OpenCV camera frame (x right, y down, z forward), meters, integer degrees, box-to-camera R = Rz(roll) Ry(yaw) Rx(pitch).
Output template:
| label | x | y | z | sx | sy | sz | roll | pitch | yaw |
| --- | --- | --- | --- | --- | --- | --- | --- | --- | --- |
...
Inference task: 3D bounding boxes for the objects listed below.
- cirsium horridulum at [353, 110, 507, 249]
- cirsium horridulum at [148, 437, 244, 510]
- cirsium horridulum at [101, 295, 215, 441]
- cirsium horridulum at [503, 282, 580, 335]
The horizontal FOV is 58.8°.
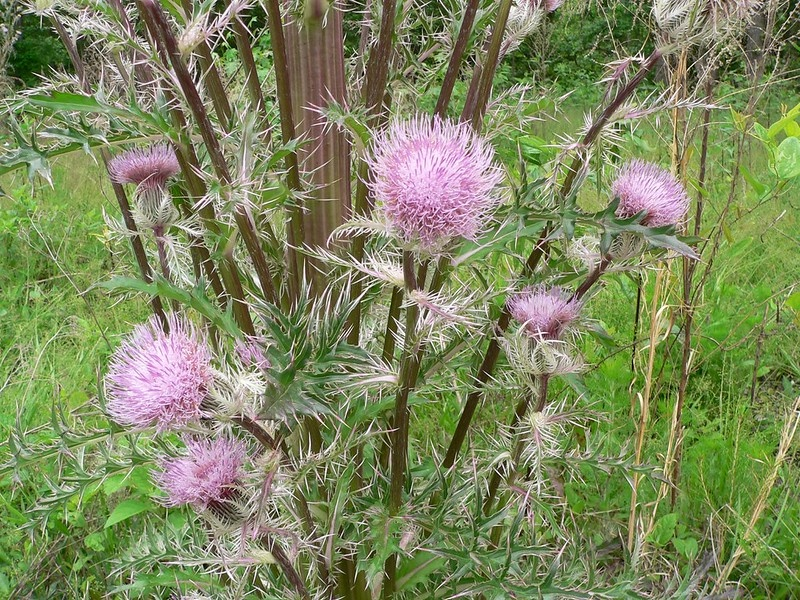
| label | x | y | z | sx | sy | sz | roll | pitch | yaw |
| --- | --- | --- | --- | --- | --- | --- | --- | --- | --- |
| cirsium horridulum | 0.081 | -0.290 | 1.679 | 0.316 | 0.234 | 0.341 | -5 | 41 | -9 |
| cirsium horridulum | -0.526 | 0.405 | 1.785 | 0.179 | 0.109 | 0.182 | -3 | 39 | 46 |
| cirsium horridulum | -0.559 | 0.187 | 1.749 | 0.258 | 0.198 | 0.269 | 12 | 36 | 33 |
| cirsium horridulum | 0.390 | 0.034 | 2.018 | 0.150 | 0.114 | 0.156 | -5 | 15 | -18 |
